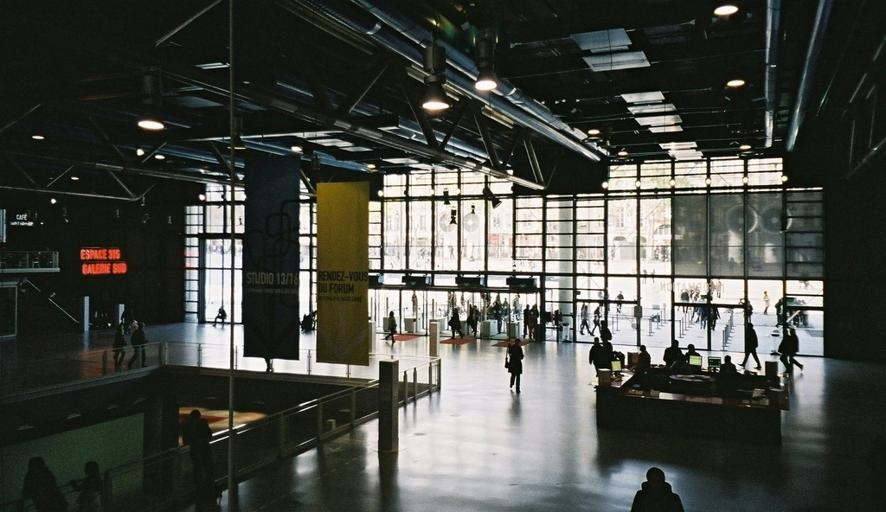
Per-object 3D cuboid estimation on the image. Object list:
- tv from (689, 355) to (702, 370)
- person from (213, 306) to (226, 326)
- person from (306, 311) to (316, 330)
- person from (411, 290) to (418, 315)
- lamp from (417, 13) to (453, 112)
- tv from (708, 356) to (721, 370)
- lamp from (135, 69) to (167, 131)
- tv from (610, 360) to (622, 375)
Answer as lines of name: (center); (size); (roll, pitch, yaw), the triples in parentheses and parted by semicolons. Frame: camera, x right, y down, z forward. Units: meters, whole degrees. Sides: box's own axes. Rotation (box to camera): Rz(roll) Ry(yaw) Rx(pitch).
tv: (9.480, 3.918, 26.354); (0.507, 0.491, 0.864); (4, 12, 19)
person: (-13.995, 3.662, 43.896); (0.878, 1.114, 1.444); (-5, 12, -20)
person: (-7.633, 3.784, 40.706); (0.404, 0.856, 1.093); (-1, 11, -5)
person: (-1.651, 2.760, 41.338); (0.352, 1.383, 0.441); (-2, 12, -8)
lamp: (-0.203, -5.349, 19.655); (0.649, 2.437, 1.150); (-1, 12, -1)
tv: (10.168, 4.013, 26.191); (0.450, 0.405, 0.143); (-1, -11, 20)
lamp: (-8.100, -4.332, 19.395); (0.661, 1.605, 1.053); (-5, 12, -22)
tv: (6.436, 4.129, 25.966); (0.622, 0.558, 0.085); (-1, -1, -45)
